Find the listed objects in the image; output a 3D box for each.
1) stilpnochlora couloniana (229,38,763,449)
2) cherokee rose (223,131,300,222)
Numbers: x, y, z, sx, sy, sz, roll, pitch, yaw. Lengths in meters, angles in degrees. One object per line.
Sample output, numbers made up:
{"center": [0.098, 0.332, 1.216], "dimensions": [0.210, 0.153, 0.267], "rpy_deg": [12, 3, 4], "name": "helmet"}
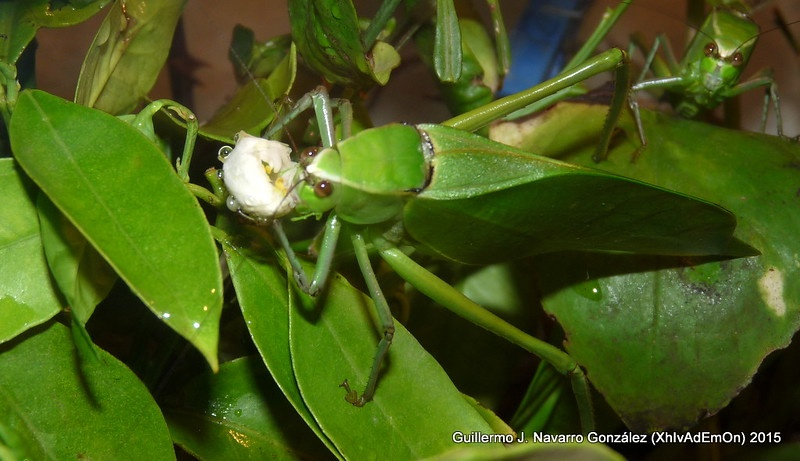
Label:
{"center": [0.177, 0.093, 1.597], "dimensions": [1.003, 0.628, 0.335], "rpy_deg": [-8, 27, -12], "name": "stilpnochlora couloniana"}
{"center": [-0.269, -0.102, 1.487], "dimensions": [0.149, 0.161, 0.091], "rpy_deg": [-6, 27, -9], "name": "cherokee rose"}
